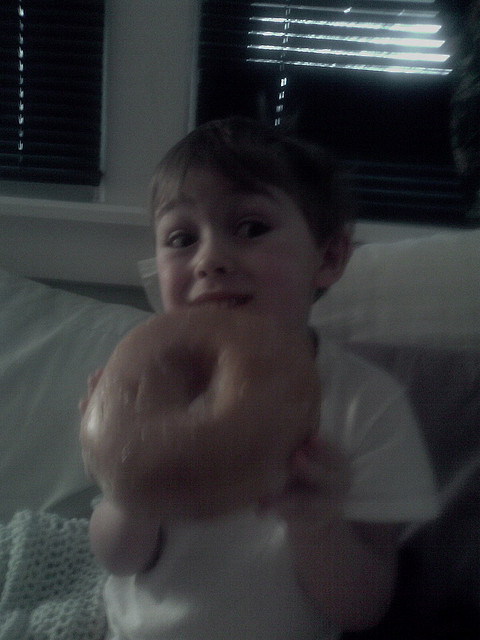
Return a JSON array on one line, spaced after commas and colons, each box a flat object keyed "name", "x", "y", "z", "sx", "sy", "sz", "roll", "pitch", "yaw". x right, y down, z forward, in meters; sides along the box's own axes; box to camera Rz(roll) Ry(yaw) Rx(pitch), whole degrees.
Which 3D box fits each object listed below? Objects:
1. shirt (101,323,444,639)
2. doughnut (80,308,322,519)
[{"name": "shirt", "x": 0.021, "y": 0.076, "z": 0.359, "sx": 0.185, "sy": 0.186, "sz": 0.069, "roll": -10, "pitch": -29, "yaw": 25}, {"name": "doughnut", "x": -0.019, "y": 0.055, "z": 0.352, "sx": 0.122, "sy": 0.111, "sz": 0.050, "roll": 8, "pitch": 22, "yaw": 9}]
